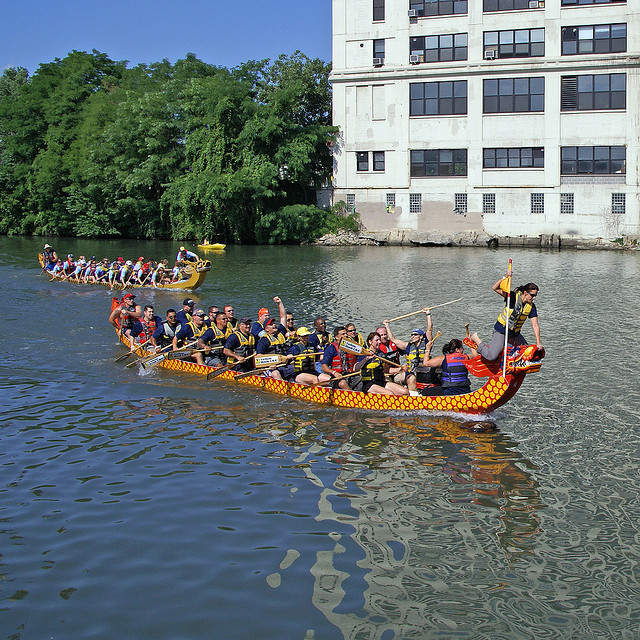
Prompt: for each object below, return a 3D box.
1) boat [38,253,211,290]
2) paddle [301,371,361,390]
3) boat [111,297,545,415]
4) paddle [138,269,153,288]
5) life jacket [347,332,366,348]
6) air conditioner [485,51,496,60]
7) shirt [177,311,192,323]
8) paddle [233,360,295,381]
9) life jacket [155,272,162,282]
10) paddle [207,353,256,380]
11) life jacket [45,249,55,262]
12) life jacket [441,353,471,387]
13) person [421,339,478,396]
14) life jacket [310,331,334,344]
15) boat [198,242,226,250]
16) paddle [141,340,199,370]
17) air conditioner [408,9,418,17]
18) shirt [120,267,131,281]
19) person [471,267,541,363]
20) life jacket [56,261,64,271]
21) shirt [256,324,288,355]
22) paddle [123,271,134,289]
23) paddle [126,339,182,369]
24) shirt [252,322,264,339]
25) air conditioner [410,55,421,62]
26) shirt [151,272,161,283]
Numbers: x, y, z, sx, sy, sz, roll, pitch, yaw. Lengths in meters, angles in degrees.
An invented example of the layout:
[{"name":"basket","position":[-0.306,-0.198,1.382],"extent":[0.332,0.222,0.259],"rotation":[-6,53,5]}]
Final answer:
[{"name":"boat","position":[-7.685,-1.896,35.314],"extent":[8.568,1.210,1.298],"rotation":[4,9,35]},{"name":"paddle","position":[0.266,1.277,17.964],"extent":[1.079,0.109,0.049],"rotation":[-18,45,0]},{"name":"boat","position":[0.066,0.866,19.170],"extent":[11.228,1.415,1.514],"rotation":[7,19,32]},{"name":"paddle","position":[-7.320,-1.742,35.677],"extent":[0.982,0.147,0.089],"rotation":[-51,17,-13]},{"name":"life jacket","position":[0.784,0.391,17.967],"extent":[0.282,0.124,0.370],"rotation":[-31,49,-32]},{"name":"air conditioner","position":[10.508,-16.407,53.060],"extent":[0.909,0.587,0.421],"rotation":[2,6,19]},{"name":"shirt","position":[-3.412,-0.070,21.507],"extent":[0.403,0.295,0.194],"rotation":[-1,-2,1]},{"name":"paddle","position":[-1.200,1.117,18.828],"extent":[1.387,0.128,0.139],"rotation":[-14,19,8]},{"name":"life jacket","position":[-6.721,-1.760,35.444],"extent":[0.265,0.276,0.104],"rotation":[6,1,-16]},{"name":"paddle","position":[-1.976,1.070,19.404],"extent":[1.510,0.139,0.109],"rotation":[-21,13,-14]},{"name":"life jacket","position":[-12.324,-2.949,38.839],"extent":[0.469,0.455,0.182],"rotation":[-13,-5,-8]},{"name":"life jacket","position":[2.624,0.983,16.666],"extent":[0.511,0.696,0.318],"rotation":[0,9,7]},{"name":"person","position":[2.523,0.901,17.202],"extent":[0.925,1.105,1.800],"rotation":[0,7,6]},{"name":"life jacket","position":[0.095,0.380,18.547],"extent":[0.353,0.127,0.244],"rotation":[15,5,25]},{"name":"boat","position":[-6.875,-4.723,54.424],"extent":[2.315,0.431,0.732],"rotation":[3,7,44]},{"name":"paddle","position":[-3.553,0.846,20.334],"extent":[1.790,0.257,0.177],"rotation":[-16,24,-10]},{"name":"air conditioner","position":[5.839,-19.567,54.514],"extent":[0.562,0.331,0.519],"rotation":[1,3,20]},{"name":"shirt","position":[-8.087,-1.905,35.435],"extent":[0.509,0.539,0.227],"rotation":[2,-3,-13]},{"name":"person","position":[3.547,-0.071,16.236],"extent":[1.111,1.795,1.304],"rotation":[0,8,8]},{"name":"life jacket","position":[-11.489,-2.349,37.836],"extent":[0.372,0.281,0.154],"rotation":[2,-3,-26]},{"name":"shirt","position":[-1.116,0.452,19.328],"extent":[0.238,0.237,0.755],"rotation":[-11,12,37]},{"name":"paddle","position":[-7.983,-1.670,35.478],"extent":[0.163,0.936,0.060],"rotation":[38,-10,1]},{"name":"paddle","position":[-3.948,0.822,20.517],"extent":[1.441,0.132,0.105],"rotation":[-24,30,-7]},{"name":"shirt","position":[-1.445,0.255,19.705],"extent":[0.264,0.362,0.443],"rotation":[-4,3,-29]},{"name":"air conditioner","position":[6.061,-16.722,54.633],"extent":[0.886,0.363,0.523],"rotation":[1,0,10]},{"name":"shirt","position":[-6.752,-1.757,35.604],"extent":[0.553,0.566,0.361],"rotation":[2,-6,-5]}]
